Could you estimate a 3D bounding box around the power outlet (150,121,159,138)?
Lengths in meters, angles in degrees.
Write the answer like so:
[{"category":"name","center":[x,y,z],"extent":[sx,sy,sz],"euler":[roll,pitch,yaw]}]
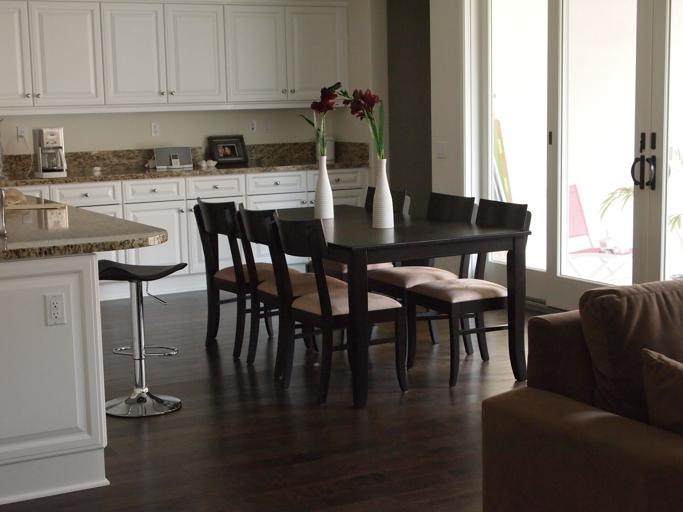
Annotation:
[{"category":"power outlet","center":[-1.994,-1.365,6.227],"extent":[0.087,0.155,0.014],"euler":[-5,12,-17]}]
